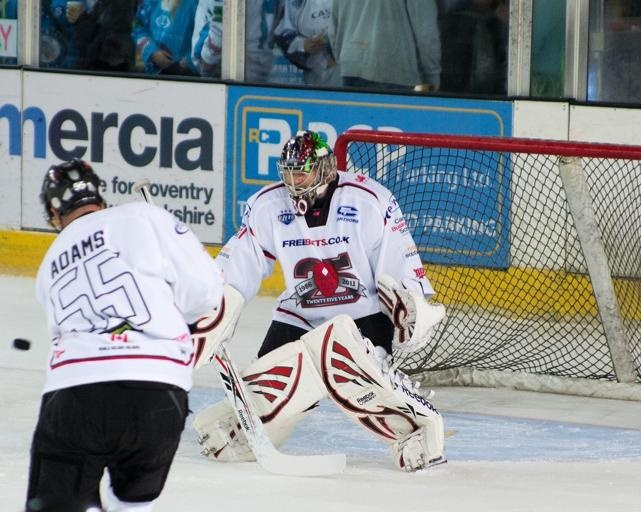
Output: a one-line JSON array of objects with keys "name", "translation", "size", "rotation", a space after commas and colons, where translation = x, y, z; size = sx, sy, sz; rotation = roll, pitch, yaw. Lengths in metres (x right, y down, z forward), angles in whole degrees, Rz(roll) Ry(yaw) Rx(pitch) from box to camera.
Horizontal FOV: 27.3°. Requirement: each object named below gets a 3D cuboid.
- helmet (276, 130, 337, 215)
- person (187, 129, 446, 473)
[{"name": "helmet", "translation": [-0.066, -0.408, 6.240], "size": [0.251, 0.362, 0.324], "rotation": [2, 17, 20]}, {"name": "person", "translation": [0.010, 0.254, 6.276], "size": [1.275, 1.552, 0.875], "rotation": [0, 10, 23]}]
